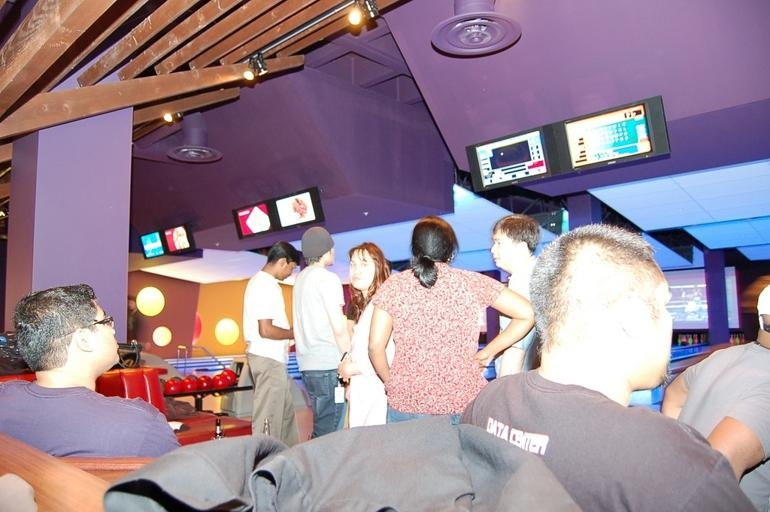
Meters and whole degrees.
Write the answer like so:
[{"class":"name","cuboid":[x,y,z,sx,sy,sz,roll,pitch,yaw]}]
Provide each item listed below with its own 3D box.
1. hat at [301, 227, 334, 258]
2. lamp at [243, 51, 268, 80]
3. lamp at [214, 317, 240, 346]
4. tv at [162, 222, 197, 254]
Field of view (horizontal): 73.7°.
[{"class":"hat","cuboid":[-0.523,-0.097,4.049,0.227,0.156,0.241,4,35,28]},{"class":"lamp","cuboid":[-1.402,-2.036,5.490,0.186,0.206,0.360,-3,-1,-27]},{"class":"lamp","cuboid":[-5.229,2.550,16.918,0.915,0.832,0.775,-5,-10,-20]},{"class":"tv","cuboid":[-4.416,-0.394,10.930,0.601,0.582,0.285,-1,12,29]}]
